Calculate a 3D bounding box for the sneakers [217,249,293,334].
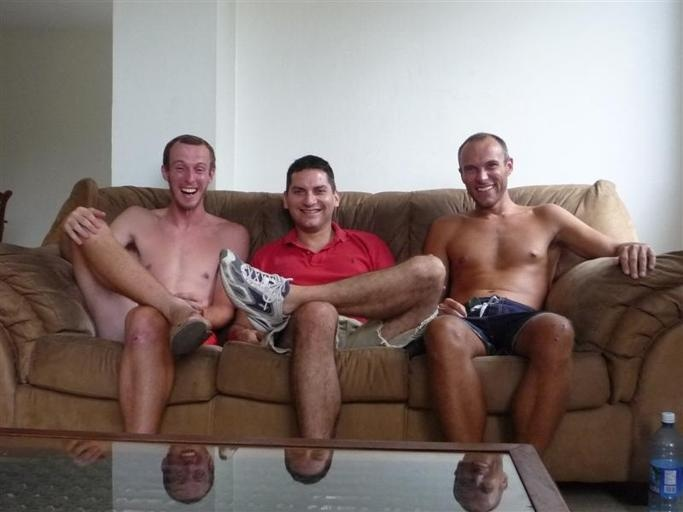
[{"bbox_3d":[-0.277,0.137,2.036,0.184,0.385,0.139,-27,48,15],"label":"sneakers"}]
